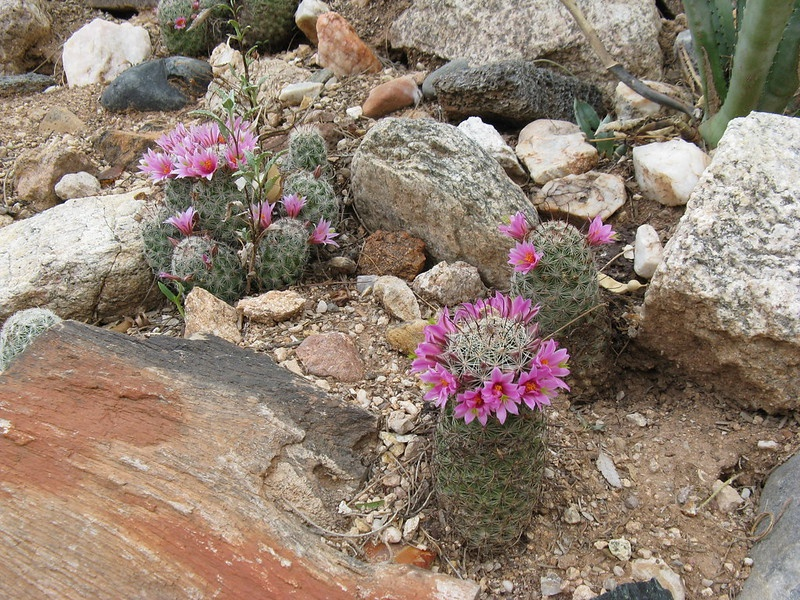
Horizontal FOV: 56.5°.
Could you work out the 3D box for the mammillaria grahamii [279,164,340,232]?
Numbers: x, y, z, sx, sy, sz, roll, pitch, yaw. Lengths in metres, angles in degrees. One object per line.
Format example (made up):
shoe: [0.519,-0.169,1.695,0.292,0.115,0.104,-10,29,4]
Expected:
mammillaria grahamii: [-0.478,-0.557,3.987,0.260,0.294,0.309,-9,95,-5]

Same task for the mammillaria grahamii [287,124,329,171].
mammillaria grahamii: [-0.520,-0.882,4.282,0.284,0.285,0.313,-4,100,-14]
